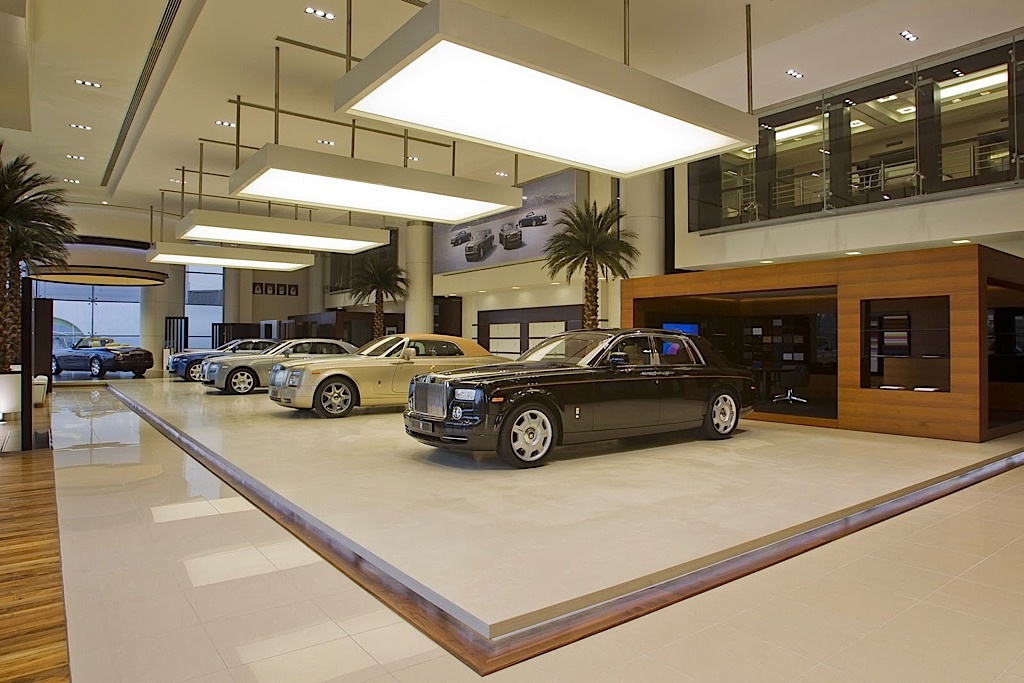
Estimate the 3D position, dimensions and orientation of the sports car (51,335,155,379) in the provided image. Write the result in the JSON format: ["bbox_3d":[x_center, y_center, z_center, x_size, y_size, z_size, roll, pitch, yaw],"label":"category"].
[{"bbox_3d":[-16.755,0.638,24.615,4.080,1.219,1.926,3,0,30],"label":"sports car"}]

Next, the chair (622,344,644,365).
[{"bbox_3d":[1.879,0.113,9.241,0.311,0.376,0.397,0,-16,11],"label":"chair"}]

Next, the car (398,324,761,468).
[{"bbox_3d":[1.340,0.817,9.299,4.982,1.364,2.129,2,-4,-31],"label":"car"}]
